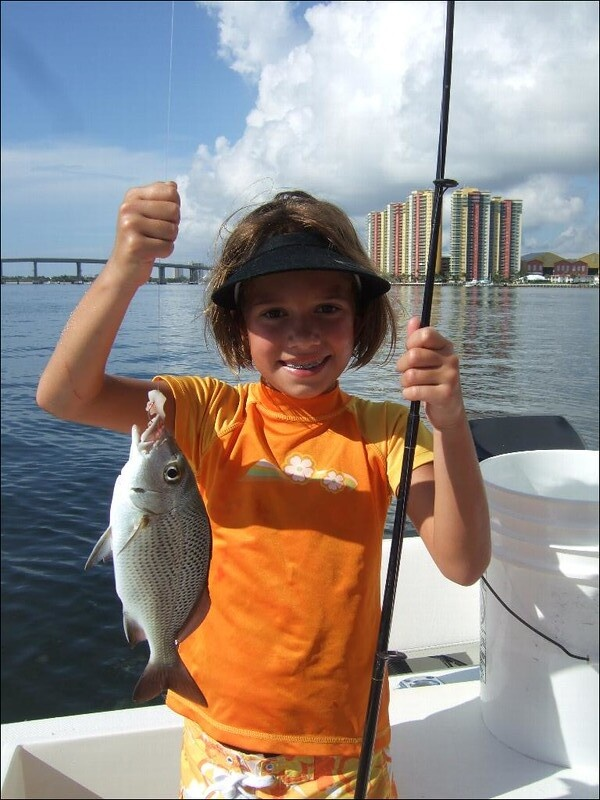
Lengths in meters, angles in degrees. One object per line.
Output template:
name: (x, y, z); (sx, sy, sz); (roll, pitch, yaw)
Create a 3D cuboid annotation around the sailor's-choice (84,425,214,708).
sailor's-choice: (-0.325, 0.375, 1.734); (0.244, 0.634, 0.223); (3, 14, -11)

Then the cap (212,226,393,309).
cap: (-0.019, -0.336, 1.971); (0.405, 0.122, 0.405); (-11, 5, 32)

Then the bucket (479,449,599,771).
bucket: (0.767, 0.717, 2.376); (0.154, 0.905, 0.482); (-5, 17, -37)
